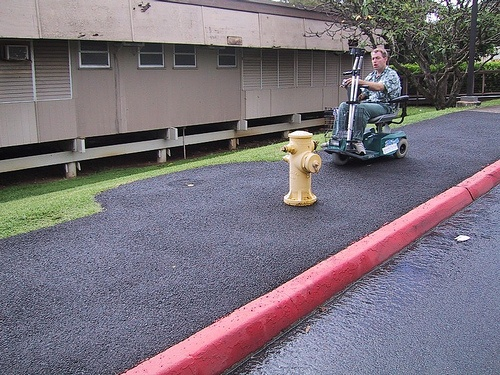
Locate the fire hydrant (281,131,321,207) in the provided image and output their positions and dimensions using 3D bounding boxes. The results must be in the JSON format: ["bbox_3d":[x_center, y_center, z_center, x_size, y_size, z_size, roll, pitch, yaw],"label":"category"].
[{"bbox_3d":[0.701,-0.273,4.961,0.622,1.007,0.621,0,15,2],"label":"fire hydrant"}]

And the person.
[{"bbox_3d":[2.149,-1.567,6.370,1.237,1.890,0.714,-14,19,-39],"label":"person"}]

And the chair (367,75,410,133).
[{"bbox_3d":[2.422,-1.646,6.597,0.767,1.166,0.706,-3,17,-13],"label":"chair"}]

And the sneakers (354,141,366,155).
[{"bbox_3d":[1.966,-0.691,6.209,0.129,0.145,0.328,2,25,1],"label":"sneakers"}]

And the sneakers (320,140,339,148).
[{"bbox_3d":[1.456,-0.799,6.388,0.357,0.136,0.127,7,7,25],"label":"sneakers"}]

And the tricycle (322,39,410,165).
[{"bbox_3d":[2.214,-1.527,6.574,1.581,1.977,1.021,-12,17,-37],"label":"tricycle"}]
